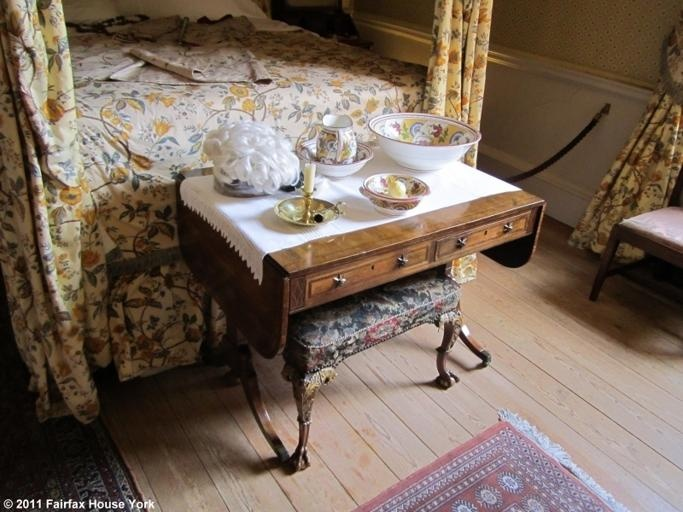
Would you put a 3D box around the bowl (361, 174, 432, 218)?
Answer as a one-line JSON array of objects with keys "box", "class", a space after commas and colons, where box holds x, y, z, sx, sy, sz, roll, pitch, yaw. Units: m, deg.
[{"box": [0.175, -0.220, 1.754, 0.173, 0.069, 0.189, 1, 35, -1], "class": "bowl"}]

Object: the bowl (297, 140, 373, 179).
[{"box": [-0.035, -0.338, 1.861, 0.199, 0.058, 0.183, 1, 37, -1], "class": "bowl"}]

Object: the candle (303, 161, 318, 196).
[{"box": [-0.104, -0.239, 1.629, 0.030, 0.099, 0.068, 7, 39, 6], "class": "candle"}]

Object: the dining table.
[{"box": [0.108, 0.186, 1.920, 1.198, 0.883, 0.660, -10, 40, -15], "class": "dining table"}]

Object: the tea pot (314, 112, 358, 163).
[{"box": [-0.053, -0.423, 1.882, 0.145, 0.173, 0.180, 1, 39, -6], "class": "tea pot"}]

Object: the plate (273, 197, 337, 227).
[{"box": [-0.117, -0.140, 1.664, 0.136, 0.022, 0.124, 4, 34, -6], "class": "plate"}]

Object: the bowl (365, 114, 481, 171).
[{"box": [0.302, -0.396, 1.980, 0.371, 0.126, 0.338, 10, 17, -3], "class": "bowl"}]
